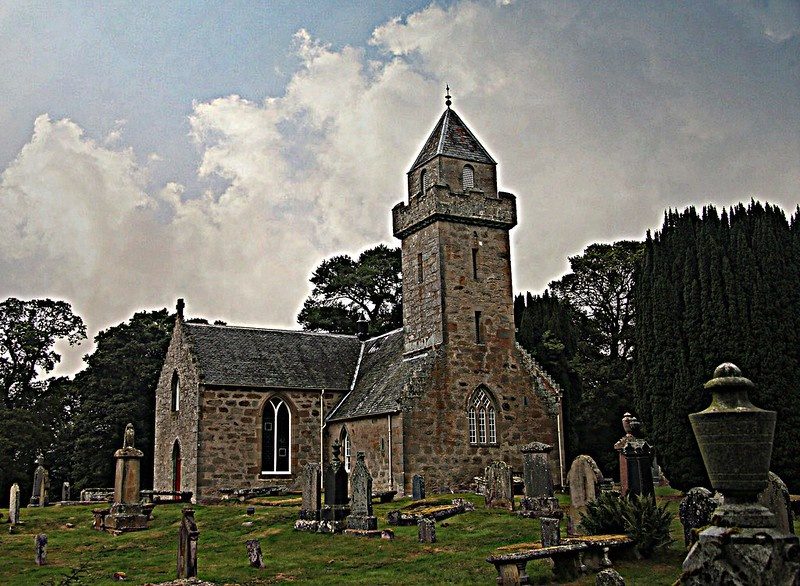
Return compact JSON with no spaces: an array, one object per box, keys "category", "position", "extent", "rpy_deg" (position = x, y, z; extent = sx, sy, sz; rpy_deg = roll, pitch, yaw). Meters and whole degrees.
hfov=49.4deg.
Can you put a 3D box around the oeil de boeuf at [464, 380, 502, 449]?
[{"category":"oeil de boeuf","position":[3.427,5.097,35.898],"extent":[1.337,2.406,0.341],"rpy_deg":[10,-21,-29]}]

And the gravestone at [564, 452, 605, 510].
[{"category":"gravestone","position":[5.014,5.163,23.763],"extent":[0.495,1.410,0.965],"rpy_deg":[12,-22,-33]}]

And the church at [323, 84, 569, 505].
[{"category":"church","position":[0.574,0.436,40.429],"extent":[10.504,16.881,11.244],"rpy_deg":[3,-4,-44]}]

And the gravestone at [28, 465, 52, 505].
[{"category":"gravestone","position":[-17.467,9.346,42.280],"extent":[0.749,2.016,1.776],"rpy_deg":[7,-19,-21]}]

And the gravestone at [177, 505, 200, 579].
[{"category":"gravestone","position":[-5.454,6.445,22.500],"extent":[0.515,1.780,1.078],"rpy_deg":[4,-19,-13]}]

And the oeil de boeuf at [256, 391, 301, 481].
[{"category":"oeil de boeuf","position":[-5.456,6.452,38.902],"extent":[1.429,3.431,0.386],"rpy_deg":[13,-23,-34]}]

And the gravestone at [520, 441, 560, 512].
[{"category":"gravestone","position":[4.440,5.963,27.992],"extent":[1.231,2.379,0.853],"rpy_deg":[-4,-7,17]}]

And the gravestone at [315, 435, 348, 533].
[{"category":"gravestone","position":[-2.174,6.275,28.155],"extent":[1.318,2.647,1.193],"rpy_deg":[5,-20,-13]}]

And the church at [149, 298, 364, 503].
[{"category":"church","position":[-7.006,5.216,41.865],"extent":[5.847,6.875,10.223],"rpy_deg":[7,-3,40]}]

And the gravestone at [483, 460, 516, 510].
[{"category":"gravestone","position":[3.358,6.584,29.595],"extent":[0.591,1.647,1.466],"rpy_deg":[12,-22,-32]}]

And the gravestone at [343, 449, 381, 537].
[{"category":"gravestone","position":[-1.207,6.223,27.084],"extent":[0.790,2.622,1.415],"rpy_deg":[6,-19,-17]}]
